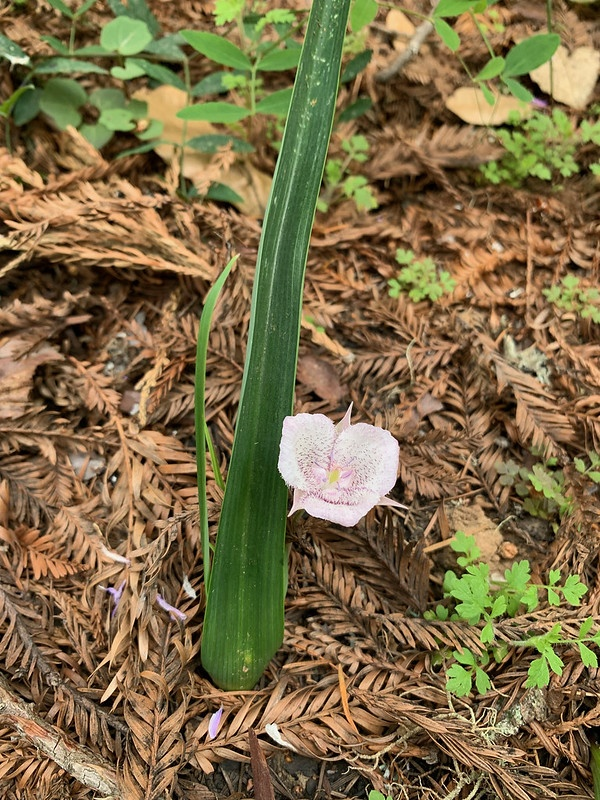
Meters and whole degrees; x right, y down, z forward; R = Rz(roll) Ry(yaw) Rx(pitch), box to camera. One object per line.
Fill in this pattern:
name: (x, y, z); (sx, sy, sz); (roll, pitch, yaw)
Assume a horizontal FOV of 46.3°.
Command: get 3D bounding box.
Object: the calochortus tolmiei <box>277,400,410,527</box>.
calochortus tolmiei: (0.057, 0.093, 1.056); (0.176, 0.115, 0.153); (11, 49, 4)
